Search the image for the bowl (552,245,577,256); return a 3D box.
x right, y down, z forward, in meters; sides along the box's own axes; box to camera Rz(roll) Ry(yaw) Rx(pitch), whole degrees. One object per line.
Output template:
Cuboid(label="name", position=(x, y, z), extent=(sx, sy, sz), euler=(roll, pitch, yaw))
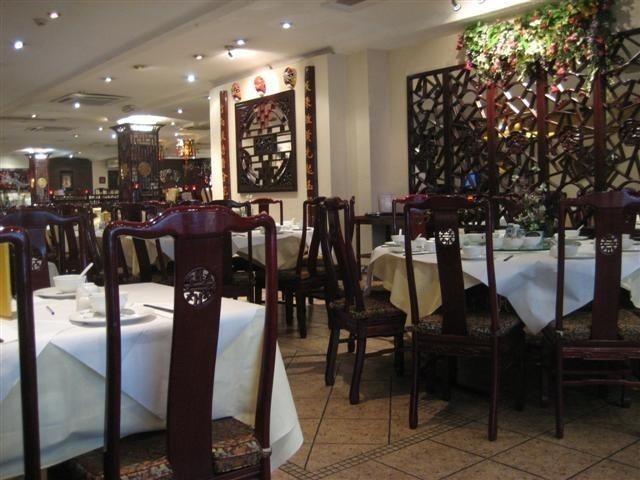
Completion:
Cuboid(label="bowl", position=(1.482, 0.065, 2.998), extent=(0.093, 0.044, 0.096), euler=(1, -4, 0))

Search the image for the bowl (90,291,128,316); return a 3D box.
Cuboid(label="bowl", position=(-0.761, 0.224, 1.796), extent=(0.113, 0.073, 0.112), euler=(2, -1, 0))

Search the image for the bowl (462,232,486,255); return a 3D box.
Cuboid(label="bowl", position=(1.022, 0.024, 3.297), extent=(0.168, 0.149, 0.191), euler=(0, -2, 36))

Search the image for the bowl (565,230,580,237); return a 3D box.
Cuboid(label="bowl", position=(1.946, -0.050, 3.868), extent=(0.092, 0.047, 0.095), euler=(1, 2, 0))

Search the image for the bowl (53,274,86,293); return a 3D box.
Cuboid(label="bowl", position=(-1.123, 0.173, 2.249), extent=(0.118, 0.060, 0.122), euler=(3, 6, 0))
